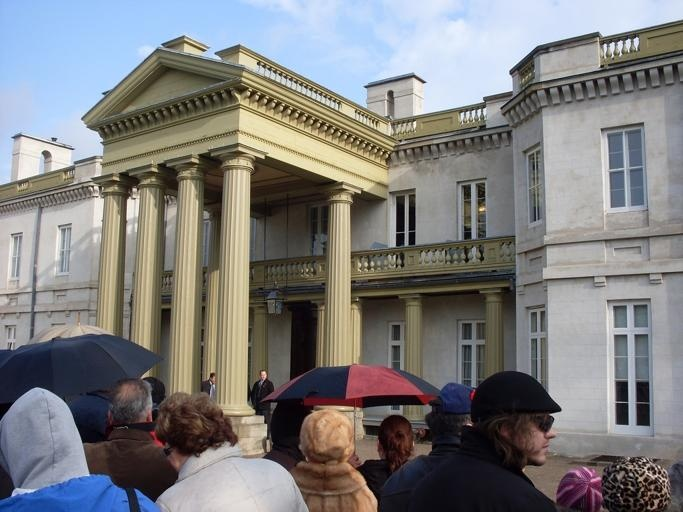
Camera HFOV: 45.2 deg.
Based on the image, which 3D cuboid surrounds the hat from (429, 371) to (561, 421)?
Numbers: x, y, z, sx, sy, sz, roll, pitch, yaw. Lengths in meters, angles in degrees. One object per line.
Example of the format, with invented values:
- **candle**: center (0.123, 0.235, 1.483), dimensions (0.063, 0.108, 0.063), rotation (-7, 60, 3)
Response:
- **hat**: center (1.315, 1.019, 6.383), dimensions (0.531, 0.283, 0.409), rotation (-14, 1, -10)

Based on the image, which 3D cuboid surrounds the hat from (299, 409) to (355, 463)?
- **hat**: center (-0.105, 1.701, 7.683), dimensions (0.402, 0.526, 0.487), rotation (3, -14, 6)

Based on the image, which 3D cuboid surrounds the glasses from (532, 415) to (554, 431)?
- **glasses**: center (1.574, 1.284, 6.338), dimensions (0.128, 0.144, 0.040), rotation (-2, -9, 37)
